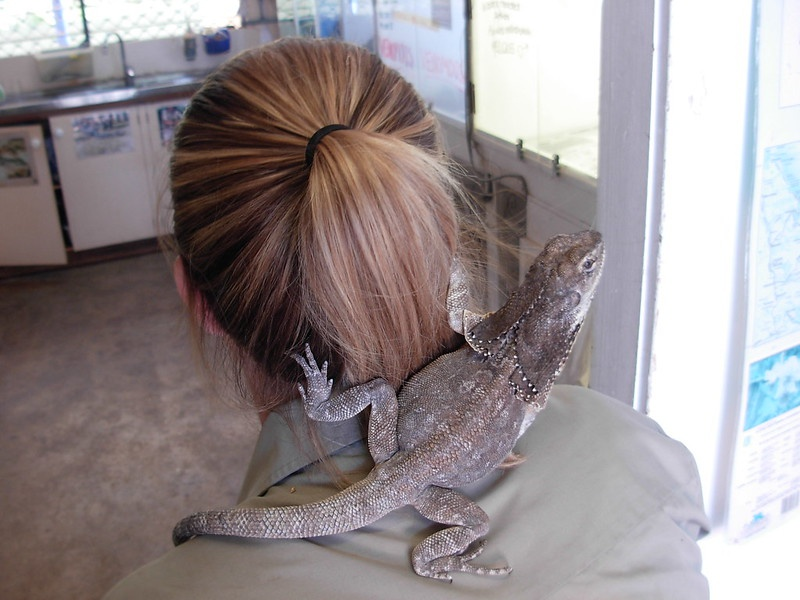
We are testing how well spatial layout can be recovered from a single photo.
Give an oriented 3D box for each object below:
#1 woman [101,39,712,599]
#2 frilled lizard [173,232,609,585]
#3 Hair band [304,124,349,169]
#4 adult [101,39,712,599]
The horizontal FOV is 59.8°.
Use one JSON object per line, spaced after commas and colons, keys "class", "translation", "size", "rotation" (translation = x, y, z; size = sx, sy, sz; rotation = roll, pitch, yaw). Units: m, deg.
{"class": "woman", "translation": [0.032, 0.011, 1.204], "size": [0.698, 0.980, 0.344], "rotation": [-20, -20, 23]}
{"class": "frilled lizard", "translation": [0.012, 0.252, 1.092], "size": [0.416, 0.667, 0.176], "rotation": [37, -5, -6]}
{"class": "Hair band", "translation": [-0.101, -0.216, 0.969], "size": [0.064, 0.052, 0.028], "rotation": [-16, 26, -28]}
{"class": "adult", "translation": [0.016, 0.034, 1.042], "size": [0.883, 0.790, 0.429], "rotation": [-3, 23, -1]}
